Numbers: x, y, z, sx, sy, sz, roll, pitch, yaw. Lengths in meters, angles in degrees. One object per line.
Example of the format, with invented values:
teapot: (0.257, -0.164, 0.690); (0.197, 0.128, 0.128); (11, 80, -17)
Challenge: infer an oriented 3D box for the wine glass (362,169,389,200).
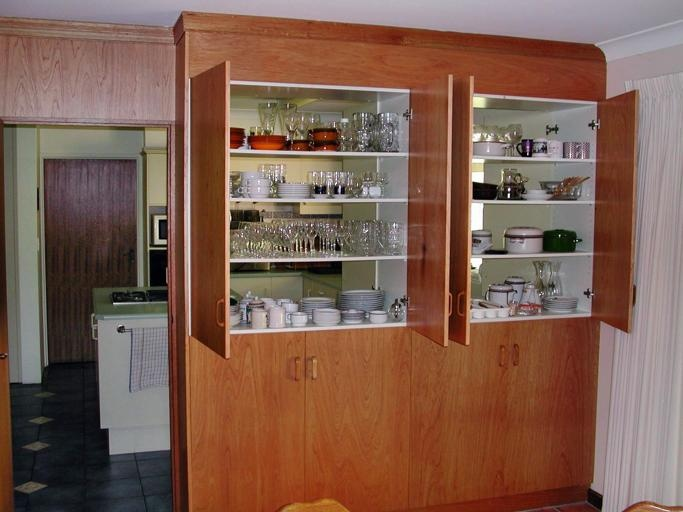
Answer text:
wine glass: (0.237, -0.465, 3.978); (0.167, 0.189, 0.169); (0, 1, 30)

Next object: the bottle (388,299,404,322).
bottle: (0.387, 0.362, 4.174); (0.130, 0.163, 0.131); (1, 8, 0)

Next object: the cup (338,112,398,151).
cup: (0.166, -0.798, 3.930); (0.375, 0.232, 0.208); (0, 3, -4)

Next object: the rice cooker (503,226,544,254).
rice cooker: (1.286, -0.117, 4.303); (0.198, 0.137, 0.196); (0, 4, -2)

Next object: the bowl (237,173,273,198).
bowl: (-0.535, -0.434, 3.778); (0.209, 0.156, 0.083); (-2, 9, -10)

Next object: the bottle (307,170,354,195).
bottle: (-0.064, -0.464, 3.938); (0.279, 0.158, 0.148); (0, 9, 0)

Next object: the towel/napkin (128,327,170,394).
towel/napkin: (-1.603, 0.851, 5.109); (0.017, 0.500, 0.432); (-6, -8, 27)

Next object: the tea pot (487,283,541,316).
tea pot: (1.241, 0.310, 4.367); (0.337, 0.155, 0.207); (1, 1, -23)

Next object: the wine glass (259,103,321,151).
wine glass: (-0.378, -0.851, 3.988); (0.410, 0.356, 0.270); (3, 3, -16)

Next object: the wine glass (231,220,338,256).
wine glass: (-0.343, -0.125, 3.910); (0.734, 0.231, 0.229); (-2, 9, -14)

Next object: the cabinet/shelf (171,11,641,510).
cabinet/shelf: (0.447, 0.065, 3.985); (3.183, 3.420, 1.002); (0, 3, -12)

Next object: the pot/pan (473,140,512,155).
pot/pan: (0.993, -0.721, 4.082); (0.137, 0.050, 0.140); (3, 5, 39)

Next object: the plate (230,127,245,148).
plate: (-0.647, -0.735, 3.782); (0.113, 0.083, 0.114); (-2, 11, -10)

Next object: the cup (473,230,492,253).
cup: (0.961, -0.101, 4.183); (0.144, 0.149, 0.140); (0, 5, 0)

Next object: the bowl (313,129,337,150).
bowl: (-0.108, -0.747, 3.941); (0.142, 0.110, 0.138); (2, 7, 0)
